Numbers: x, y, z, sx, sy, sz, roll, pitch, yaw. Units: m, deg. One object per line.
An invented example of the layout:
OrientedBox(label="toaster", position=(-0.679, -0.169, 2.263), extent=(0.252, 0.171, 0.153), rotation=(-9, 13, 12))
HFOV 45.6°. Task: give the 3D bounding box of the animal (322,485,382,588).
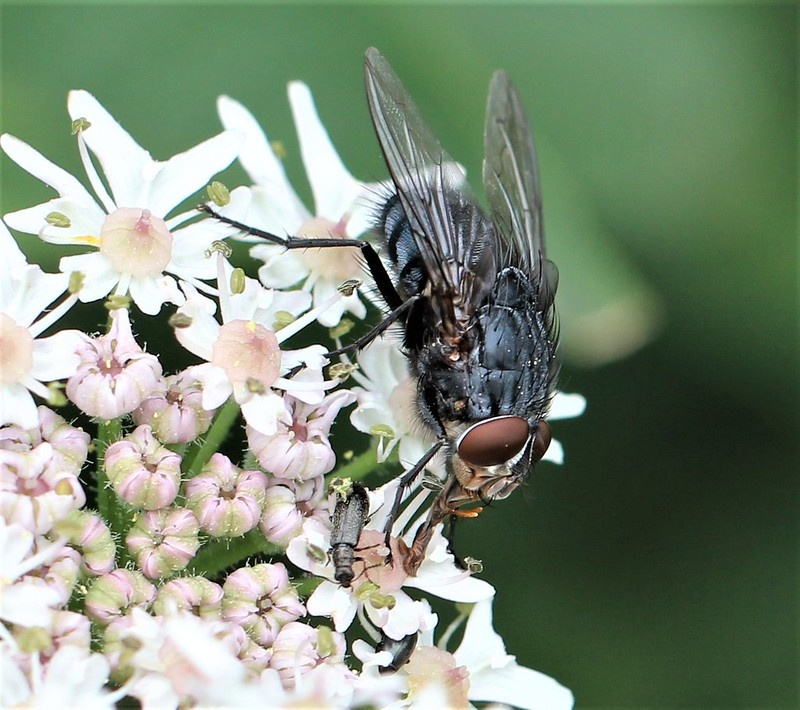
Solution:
OrientedBox(label="animal", position=(-0.121, 0.457, 2.401), extent=(0.159, 0.064, 0.231), rotation=(8, 73, -11))
